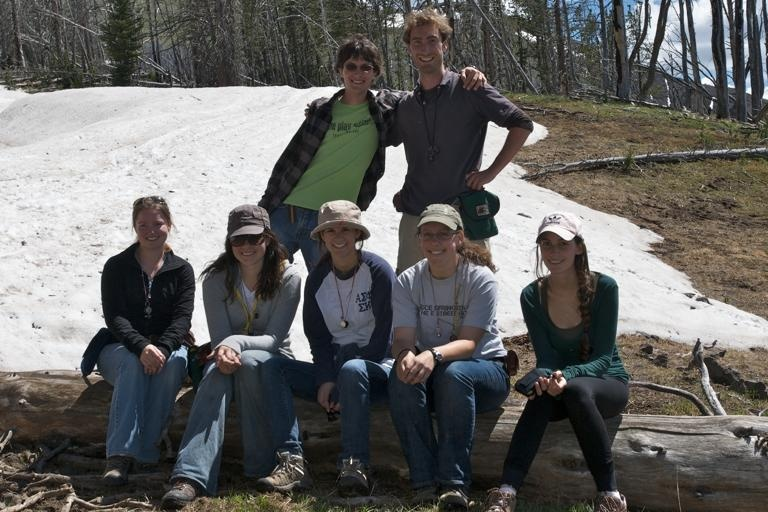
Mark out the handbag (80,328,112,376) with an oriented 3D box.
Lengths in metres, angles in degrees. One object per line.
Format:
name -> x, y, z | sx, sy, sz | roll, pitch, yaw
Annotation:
handbag -> -3.242, 1.068, 8.167 | 0.168, 0.510, 0.372 | 27, 0, 8

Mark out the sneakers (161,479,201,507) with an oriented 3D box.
sneakers -> -2.051, 2.389, 7.359 | 0.359, 0.239, 0.208 | 0, 7, 3

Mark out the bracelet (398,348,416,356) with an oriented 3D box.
bracelet -> 0.248, 0.991, 7.597 | 0.198, 0.064, 0.107 | -4, 8, -27

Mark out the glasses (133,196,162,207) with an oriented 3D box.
glasses -> -2.732, -0.636, 8.419 | 0.219, 0.093, 0.167 | -10, -3, 37

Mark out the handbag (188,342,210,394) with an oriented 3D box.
handbag -> -2.062, 1.190, 8.034 | 0.410, 0.445, 0.174 | -14, -16, 36

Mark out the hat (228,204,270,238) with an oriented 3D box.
hat -> -1.550, -0.446, 8.311 | 0.492, 0.357, 0.652 | -6, 7, -14
